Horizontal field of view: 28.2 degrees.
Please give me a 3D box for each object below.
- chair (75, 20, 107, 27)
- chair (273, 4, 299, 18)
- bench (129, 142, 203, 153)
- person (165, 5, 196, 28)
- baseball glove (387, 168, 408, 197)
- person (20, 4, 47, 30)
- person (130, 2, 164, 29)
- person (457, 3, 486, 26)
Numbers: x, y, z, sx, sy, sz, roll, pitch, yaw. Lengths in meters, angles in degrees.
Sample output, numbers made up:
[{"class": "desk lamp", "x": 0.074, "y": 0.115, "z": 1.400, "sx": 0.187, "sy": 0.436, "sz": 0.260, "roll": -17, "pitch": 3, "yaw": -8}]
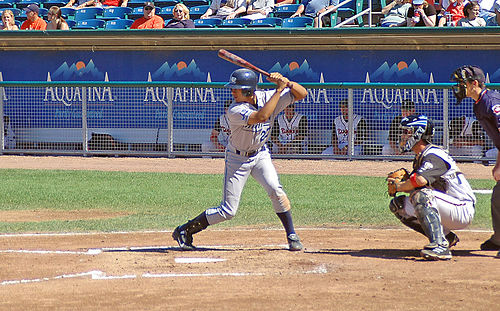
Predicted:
[{"class": "chair", "x": -4.883, "y": -4.008, "z": 30.021, "sx": 1.162, "sy": 0.266, "sz": 0.360, "roll": 0, "pitch": 3, "yaw": 29}, {"class": "chair", "x": 1.091, "y": -4.347, "z": 29.511, "sx": 0.545, "sy": 0.413, "sz": 0.485, "roll": 3, "pitch": 9, "yaw": 8}, {"class": "bench", "x": -2.419, "y": -0.273, "z": 28.656, "sx": 2.146, "sy": 0.282, "sz": 0.137, "roll": 0, "pitch": 3, "yaw": 4}, {"class": "person", "x": -2.105, "y": -4.104, "z": 29.247, "sx": 0.959, "sy": 0.746, "sz": 0.470, "roll": 1, "pitch": -6, "yaw": -3}, {"class": "baseball glove", "x": 2.956, "y": 0.513, "z": 19.527, "sx": 0.416, "sy": 0.509, "sz": 0.192, "roll": 13, "pitch": -14, "yaw": 47}, {"class": "person", "x": -6.479, "y": -4.127, "z": 29.453, "sx": 0.862, "sy": 0.790, "sz": 0.530, "roll": -1, "pitch": 3, "yaw": 6}, {"class": "person", "x": -3.073, "y": -4.148, "z": 29.483, "sx": 1.182, "sy": 0.877, "sz": 0.577, "roll": 2, "pitch": 2, "yaw": 5}, {"class": "person", "x": 6.299, "y": -3.959, "z": 27.848, "sx": 0.817, "sy": 0.667, "sz": 0.406, "roll": -1, "pitch": -4, "yaw": -20}]
